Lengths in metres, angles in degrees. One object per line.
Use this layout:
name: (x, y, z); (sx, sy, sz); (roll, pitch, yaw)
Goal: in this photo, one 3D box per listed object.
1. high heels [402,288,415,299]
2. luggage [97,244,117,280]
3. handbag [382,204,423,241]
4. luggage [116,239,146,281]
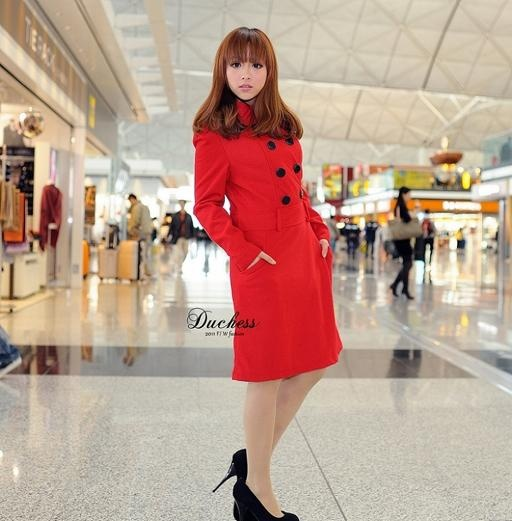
high heels: (2.545, 0.559, 8.211); (0.193, 0.158, 0.388); (1, 0, 17)
luggage: (-3.146, 0.127, 10.447); (0.437, 0.821, 0.446); (7, -34, -21)
handbag: (2.501, -0.585, 8.238); (0.549, 0.497, 0.367); (1, -1, 18)
luggage: (-2.695, -0.083, 10.215); (0.403, 0.881, 0.475); (2, 18, -8)
